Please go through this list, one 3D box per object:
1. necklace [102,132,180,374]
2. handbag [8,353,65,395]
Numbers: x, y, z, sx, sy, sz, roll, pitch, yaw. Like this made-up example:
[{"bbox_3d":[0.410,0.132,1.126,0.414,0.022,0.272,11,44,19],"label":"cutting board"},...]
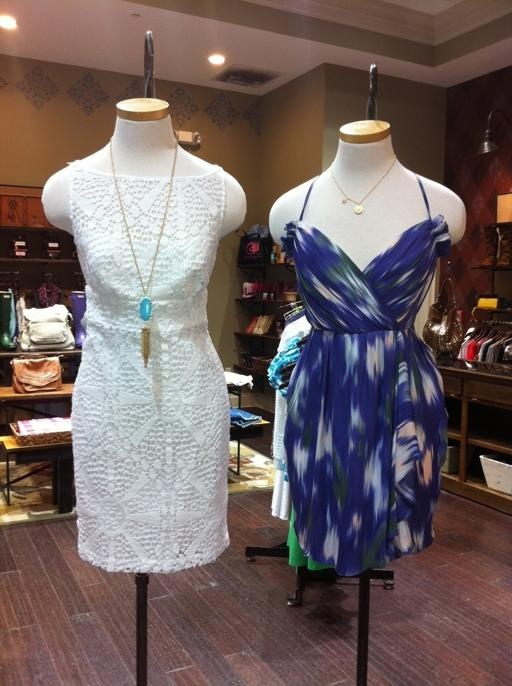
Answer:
[{"bbox_3d":[-0.237,-0.207,1.258,0.160,0.500,0.217,-2,7,-11],"label":"necklace"},{"bbox_3d":[-1.390,0.189,3.624,0.379,0.265,0.207,-4,2,-22],"label":"handbag"}]
